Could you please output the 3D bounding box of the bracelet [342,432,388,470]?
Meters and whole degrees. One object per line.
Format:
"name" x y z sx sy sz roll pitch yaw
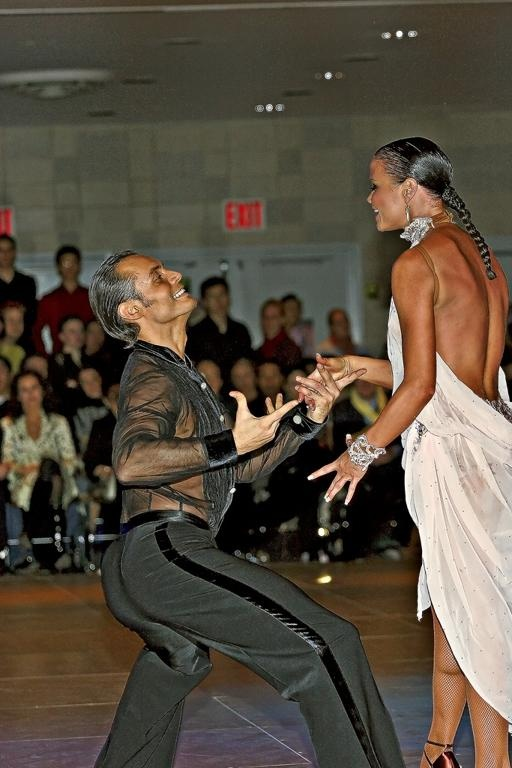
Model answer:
"bracelet" 0.263 0.164 2.165 0.095 0.036 0.114 28 -9 1

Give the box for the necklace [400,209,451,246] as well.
"necklace" 0.418 -0.385 2.180 0.114 0.055 0.094 -34 -3 29
